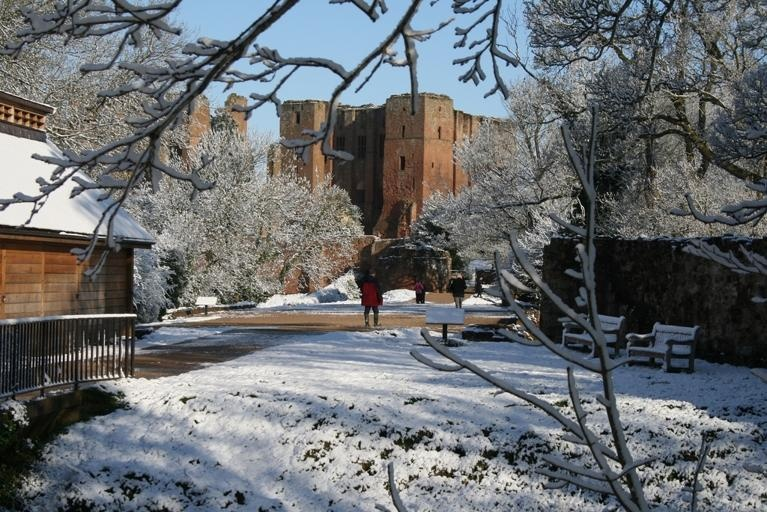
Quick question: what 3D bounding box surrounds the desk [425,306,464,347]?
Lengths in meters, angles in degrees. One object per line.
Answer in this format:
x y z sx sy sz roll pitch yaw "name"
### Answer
1.679 1.893 20.610 0.960 0.942 3.560 -1 -3 4 "desk"
